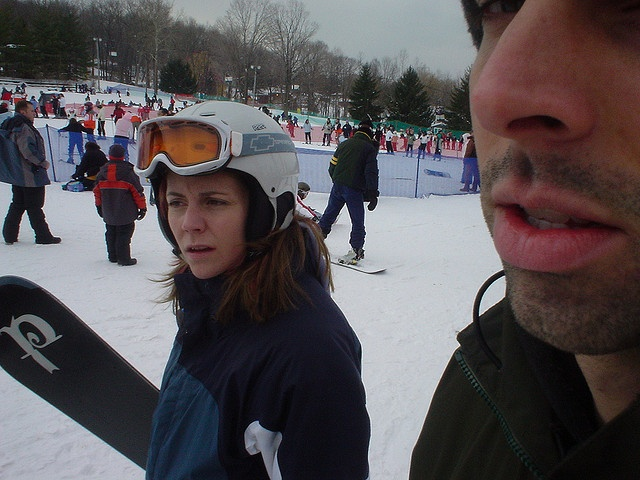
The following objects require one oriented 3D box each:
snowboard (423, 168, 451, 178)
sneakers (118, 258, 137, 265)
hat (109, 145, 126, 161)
[{"bbox_3d":[3.312,-1.861,14.675,0.998,0.286,0.149,0,5,-38],"label":"snowboard"},{"bbox_3d":[-2.459,0.277,6.612,0.235,0.090,0.174,-6,13,-24],"label":"sneakers"},{"bbox_3d":[-2.599,-1.117,6.650,0.152,0.175,0.205,-2,12,-27],"label":"hat"}]
